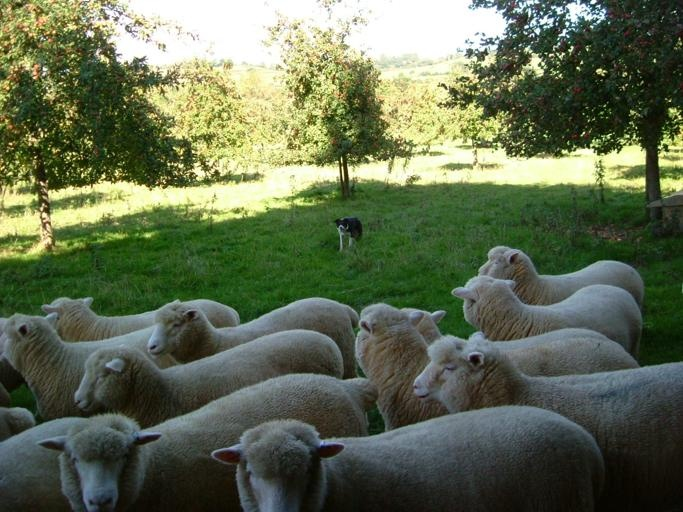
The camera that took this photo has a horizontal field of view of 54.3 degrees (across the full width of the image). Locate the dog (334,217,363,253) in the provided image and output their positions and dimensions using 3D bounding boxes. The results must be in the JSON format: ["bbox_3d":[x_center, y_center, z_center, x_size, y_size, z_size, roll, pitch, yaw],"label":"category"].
[{"bbox_3d":[0.206,-0.660,16.954,0.316,0.733,1.120,4,13,27],"label":"dog"}]
